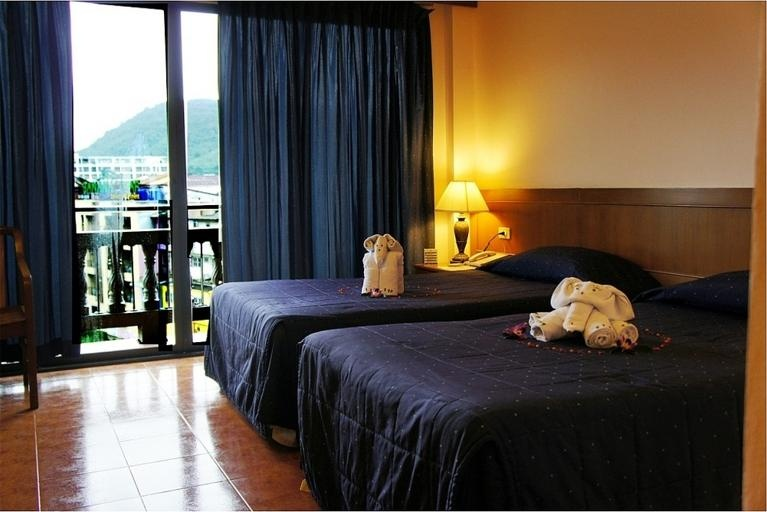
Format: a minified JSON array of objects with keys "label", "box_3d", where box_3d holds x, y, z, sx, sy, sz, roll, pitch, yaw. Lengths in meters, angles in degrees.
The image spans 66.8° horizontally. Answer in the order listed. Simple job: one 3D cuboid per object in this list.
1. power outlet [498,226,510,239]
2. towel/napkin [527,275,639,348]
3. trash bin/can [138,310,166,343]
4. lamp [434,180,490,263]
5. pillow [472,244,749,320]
[{"label":"power outlet","box_3d":[1.143,-0.212,5.523,0.022,0.128,0.170,-9,13,-32]},{"label":"towel/napkin","box_3d":[1.074,0.302,3.046,0.409,0.203,0.408,-9,14,-29]},{"label":"trash bin/can","box_3d":[-2.090,0.636,5.202,0.262,0.307,0.174,2,8,-24]},{"label":"lamp","box_3d":[0.779,-0.351,5.754,0.508,0.764,0.641,-1,11,8]},{"label":"pillow","box_3d":[1.712,0.159,4.080,0.993,0.314,0.546,6,9,41]}]
